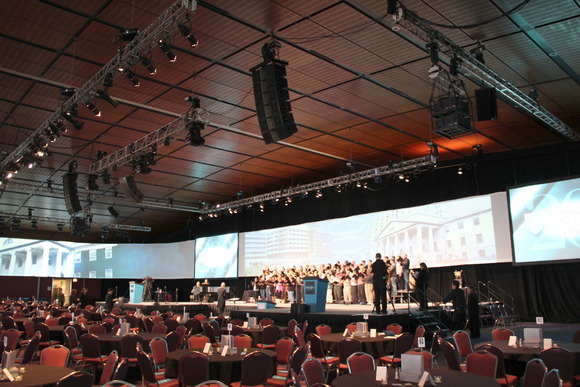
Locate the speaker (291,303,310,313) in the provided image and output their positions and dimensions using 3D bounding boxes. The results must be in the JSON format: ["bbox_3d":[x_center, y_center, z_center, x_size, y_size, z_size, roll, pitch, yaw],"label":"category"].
[{"bbox_3d":[0.368,4.826,18.299,0.548,0.301,0.570,-6,-8,42],"label":"speaker"}]

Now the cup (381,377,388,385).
[{"bbox_3d":[1.878,3.772,8.751,0.099,0.062,0.077,-7,-11,35],"label":"cup"}]

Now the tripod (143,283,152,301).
[{"bbox_3d":[-9.154,6.238,27.874,0.551,1.274,0.521,-1,-18,-4],"label":"tripod"}]

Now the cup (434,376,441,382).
[{"bbox_3d":[2.962,3.764,8.821,0.096,0.076,0.048,0,-17,11],"label":"cup"}]

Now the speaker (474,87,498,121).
[{"bbox_3d":[6.082,-2.811,13.639,0.628,1.239,0.409,-9,-19,20],"label":"speaker"}]
